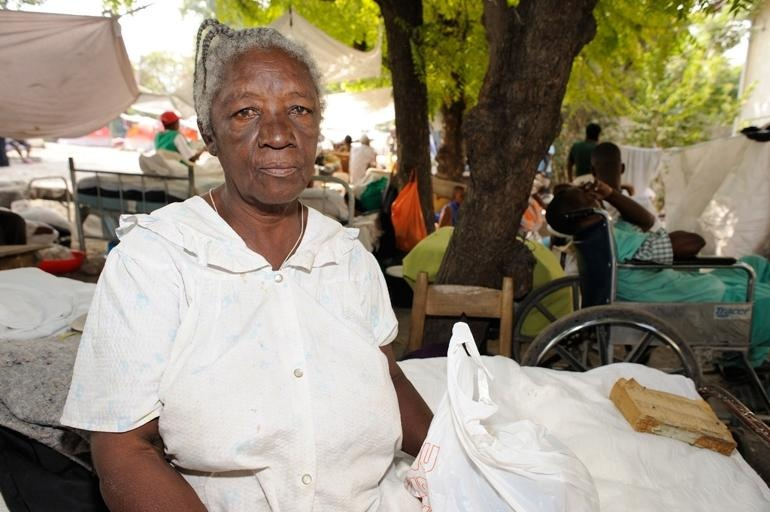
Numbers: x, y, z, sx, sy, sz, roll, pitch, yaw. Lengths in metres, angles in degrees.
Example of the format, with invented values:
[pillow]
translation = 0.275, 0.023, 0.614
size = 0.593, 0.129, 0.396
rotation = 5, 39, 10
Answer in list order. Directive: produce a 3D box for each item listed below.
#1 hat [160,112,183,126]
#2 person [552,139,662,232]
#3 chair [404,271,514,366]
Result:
[hat]
translation = -3.407, -2.162, 9.295
size = 0.305, 0.147, 0.225
rotation = -17, 31, -23
[person]
translation = 2.052, -0.607, 5.264
size = 0.664, 0.375, 1.055
rotation = -7, 37, 12
[chair]
translation = 0.547, 0.520, 4.323
size = 0.612, 1.081, 0.637
rotation = 2, -14, 5
